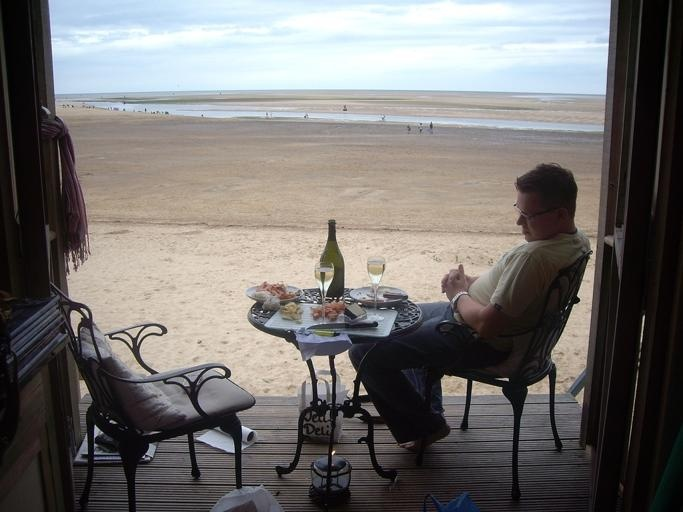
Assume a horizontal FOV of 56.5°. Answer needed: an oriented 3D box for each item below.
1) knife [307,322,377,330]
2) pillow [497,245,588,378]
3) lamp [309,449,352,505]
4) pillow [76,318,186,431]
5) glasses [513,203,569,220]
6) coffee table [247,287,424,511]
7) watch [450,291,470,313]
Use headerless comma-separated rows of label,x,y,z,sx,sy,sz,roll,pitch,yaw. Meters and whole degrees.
knife,0.006,0.375,3.415,0.363,0.035,0.054,-3,14,-6
pillow,1.167,0.371,3.671,0.548,0.806,0.249,-10,16,-28
lamp,-0.032,1.248,3.618,0.256,0.269,0.284,3,27,3
pillow,-1.306,0.746,3.966,0.342,0.341,0.772,-5,25,-40
glasses,1.079,-0.257,3.627,0.113,0.081,0.297,-10,16,-31
coffee table,-0.116,0.791,3.854,1.181,0.974,1.114,0,5,24
watch,0.726,0.280,3.822,0.035,0.111,0.115,31,-2,-13
